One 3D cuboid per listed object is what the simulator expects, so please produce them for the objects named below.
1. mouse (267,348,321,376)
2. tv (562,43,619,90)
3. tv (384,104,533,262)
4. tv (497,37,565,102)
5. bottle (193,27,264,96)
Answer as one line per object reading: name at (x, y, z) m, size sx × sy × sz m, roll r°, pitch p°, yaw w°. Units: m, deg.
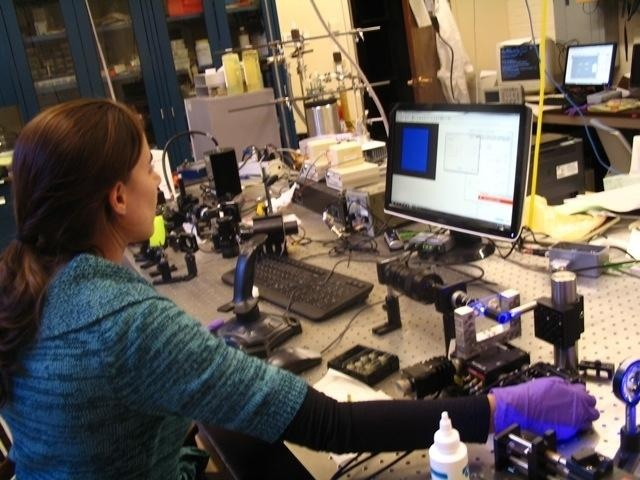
mouse at (-0.071, 0.316, 1.450) m, size 0.112 × 0.043 × 0.071 m, roll -14°, pitch 25°, yaw -37°
tv at (2.237, -1.451, 4.423) m, size 0.040 × 0.344 × 0.433 m, roll -8°, pitch 17°, yaw -28°
tv at (0.471, -0.231, 1.869) m, size 0.513 × 0.498 × 0.165 m, roll 14°, pitch 27°, yaw 40°
tv at (1.939, -1.619, 4.927) m, size 0.465 × 0.529 × 0.488 m, roll 8°, pitch 20°, yaw 40°
bottle at (-0.688, -1.247, 3.988) m, size 0.471 × 0.311 × 0.446 m, roll -9°, pitch 18°, yaw 3°
